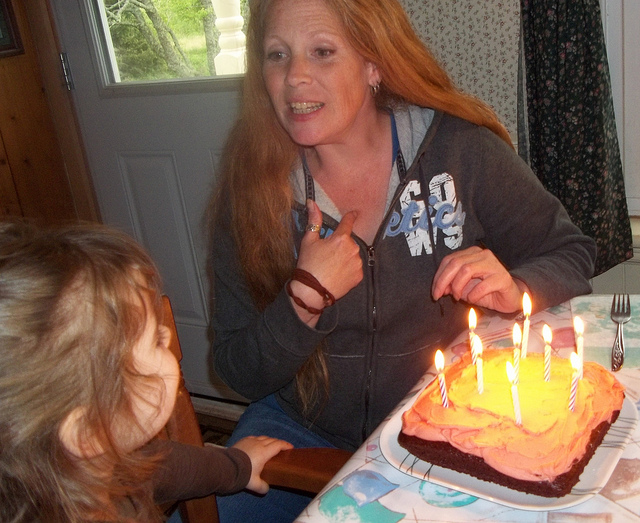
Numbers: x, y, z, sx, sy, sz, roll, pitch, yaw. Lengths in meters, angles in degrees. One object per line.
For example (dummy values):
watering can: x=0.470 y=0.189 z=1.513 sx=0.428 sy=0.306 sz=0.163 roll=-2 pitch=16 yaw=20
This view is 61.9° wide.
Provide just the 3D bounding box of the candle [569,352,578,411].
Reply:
candle: x=0.403 y=0.188 z=0.846 sx=0.010 sy=0.077 sz=0.055 roll=3 pitch=19 yaw=26

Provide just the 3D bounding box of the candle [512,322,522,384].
candle: x=0.342 y=0.161 z=0.926 sx=0.016 sy=0.123 sz=0.017 roll=-2 pitch=17 yaw=16

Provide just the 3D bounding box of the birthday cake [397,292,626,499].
birthday cake: x=0.319 y=0.202 z=0.880 sx=0.280 sy=0.174 sz=0.341 roll=11 pitch=25 yaw=43

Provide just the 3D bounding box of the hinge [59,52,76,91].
hinge: x=-1.184 y=-0.895 z=2.516 sx=0.037 sy=0.163 sz=0.024 roll=-13 pitch=18 yaw=-24

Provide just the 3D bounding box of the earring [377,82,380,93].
earring: x=0.157 y=-0.464 z=1.416 sx=0.008 sy=0.035 sz=0.007 roll=-6 pitch=-15 yaw=-3
